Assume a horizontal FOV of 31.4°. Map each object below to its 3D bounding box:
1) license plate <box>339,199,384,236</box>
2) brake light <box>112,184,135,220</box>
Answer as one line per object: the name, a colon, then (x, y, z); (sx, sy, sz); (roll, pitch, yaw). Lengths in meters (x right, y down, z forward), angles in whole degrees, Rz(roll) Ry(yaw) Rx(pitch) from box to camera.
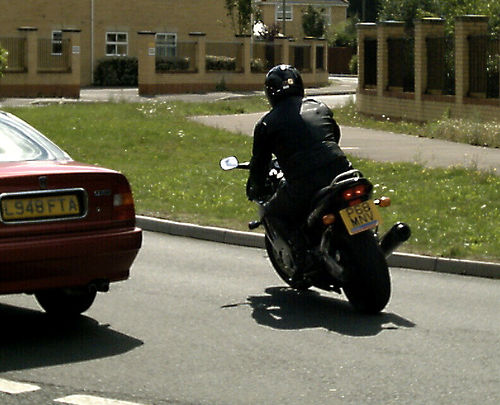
license plate: (1.004, 0.134, 8.028); (0.409, 0.305, 0.165); (-6, 11, -24)
brake light: (-1.106, -0.015, 7.756); (0.085, 0.303, 0.247); (7, 13, 39)
